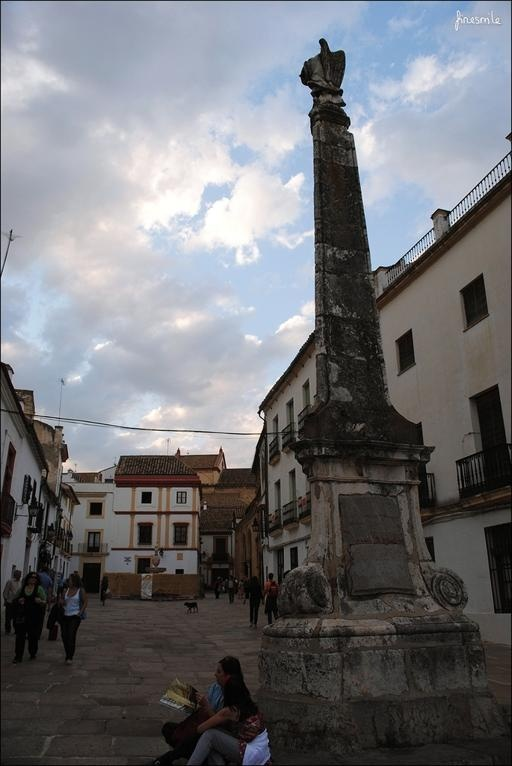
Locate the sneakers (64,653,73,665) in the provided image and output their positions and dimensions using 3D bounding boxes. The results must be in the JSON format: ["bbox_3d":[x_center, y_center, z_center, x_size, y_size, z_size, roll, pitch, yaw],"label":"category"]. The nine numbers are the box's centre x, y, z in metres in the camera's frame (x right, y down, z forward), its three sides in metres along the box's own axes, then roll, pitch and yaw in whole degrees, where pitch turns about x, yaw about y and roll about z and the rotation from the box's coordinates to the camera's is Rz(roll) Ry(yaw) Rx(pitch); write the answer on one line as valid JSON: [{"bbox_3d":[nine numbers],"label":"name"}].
[{"bbox_3d":[-2.390,3.497,6.540,0.099,0.133,0.298,7,-32,-13],"label":"sneakers"}]
